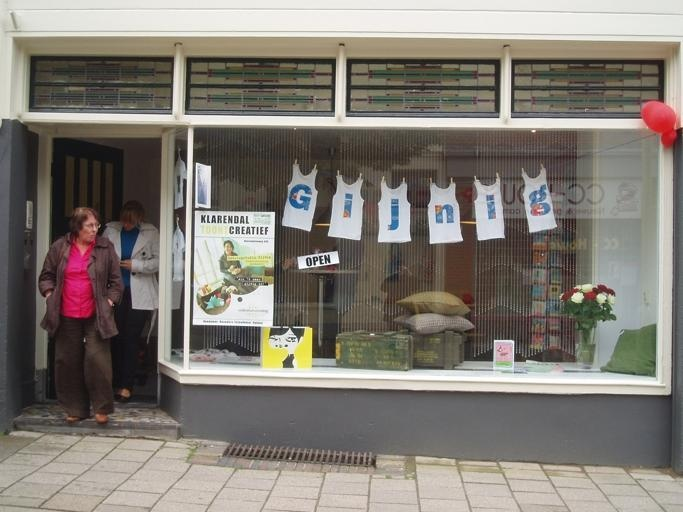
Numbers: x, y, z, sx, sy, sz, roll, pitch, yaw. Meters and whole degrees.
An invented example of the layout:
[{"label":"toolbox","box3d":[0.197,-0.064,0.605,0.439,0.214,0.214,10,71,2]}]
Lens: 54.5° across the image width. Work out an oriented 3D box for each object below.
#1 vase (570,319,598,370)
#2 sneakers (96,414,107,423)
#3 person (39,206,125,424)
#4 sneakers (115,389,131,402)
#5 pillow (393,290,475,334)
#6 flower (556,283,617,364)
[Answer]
[{"label":"vase","box3d":[2.537,0.924,6.917,0.223,0.432,0.223,5,13,11]},{"label":"sneakers","box3d":[-2.478,1.672,6.835,0.117,0.105,0.073,3,4,20]},{"label":"person","box3d":[-2.689,0.621,6.807,0.799,2.157,0.526,0,13,-6]},{"label":"sneakers","box3d":[-2.491,1.583,7.568,0.104,0.126,0.293,0,-6,4]},{"label":"pillow","box3d":[0.961,0.592,6.986,0.599,0.517,0.185,0,-35,-3]},{"label":"flower","box3d":[2.584,0.690,6.985,0.421,0.661,0.477,7,-26,10]}]
